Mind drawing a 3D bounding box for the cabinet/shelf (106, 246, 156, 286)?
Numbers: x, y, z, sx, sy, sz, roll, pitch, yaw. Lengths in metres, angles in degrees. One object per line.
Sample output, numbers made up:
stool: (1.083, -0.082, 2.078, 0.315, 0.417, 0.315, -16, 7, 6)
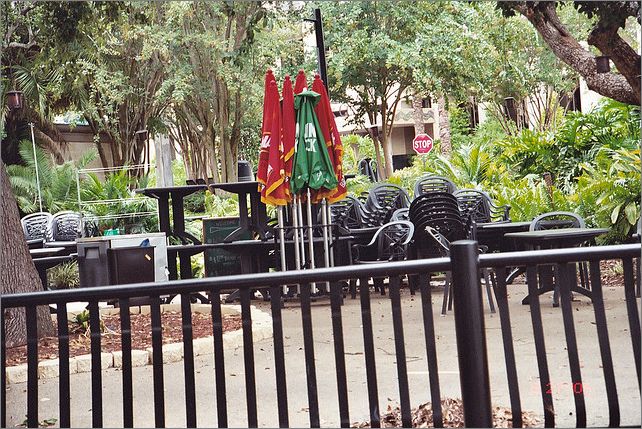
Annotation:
cabinet/shelf: (-2.699, 0.741, 11.134, 0.532, 0.531, 0.339, 2, -10, -43)

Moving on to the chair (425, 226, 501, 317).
chair: (2.081, 0.836, 10.709, 0.884, 1.249, 0.985, -7, -28, 18)

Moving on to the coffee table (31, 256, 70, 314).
coffee table: (-4.170, 1.050, 11.950, 0.494, 0.946, 2.384, -6, 4, -19)

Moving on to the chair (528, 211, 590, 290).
chair: (3.418, 0.574, 10.980, 0.866, 1.234, 0.899, -3, 3, 21)

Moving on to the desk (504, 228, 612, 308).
desk: (3.118, 0.743, 10.155, 1.182, 1.026, 3.543, -3, 4, 15)

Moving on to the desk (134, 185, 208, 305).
desk: (-2.470, 0.428, 13.035, 0.957, 1.805, 4.390, -5, 4, -12)

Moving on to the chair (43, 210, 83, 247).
chair: (-5.487, 0.336, 16.294, 0.602, 0.850, 0.774, 0, -7, -10)

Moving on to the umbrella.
umbrella: (-0.298, -0.472, 11.491, 1.323, 3.425, 1.025, -5, 5, -7)

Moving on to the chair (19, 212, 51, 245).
chair: (-6.053, 0.325, 16.277, 0.576, 0.667, 0.608, -2, -3, -15)
